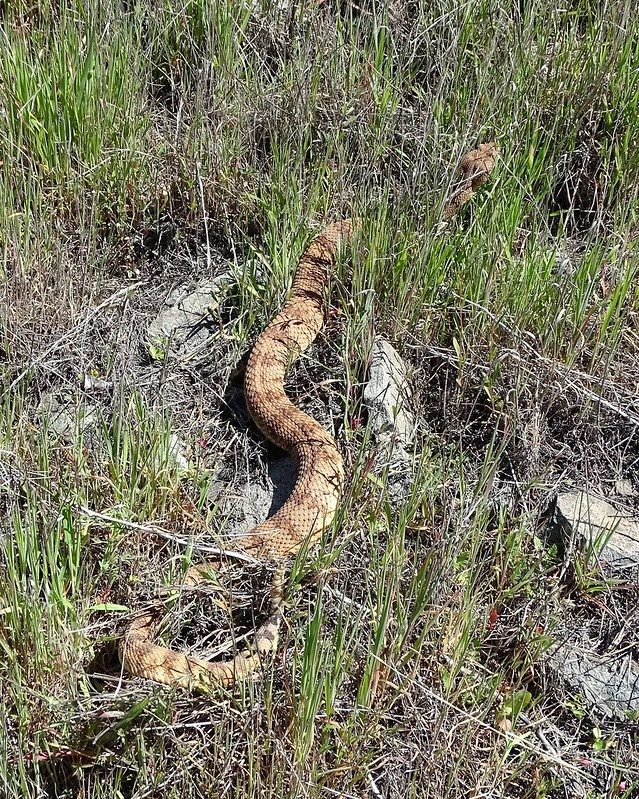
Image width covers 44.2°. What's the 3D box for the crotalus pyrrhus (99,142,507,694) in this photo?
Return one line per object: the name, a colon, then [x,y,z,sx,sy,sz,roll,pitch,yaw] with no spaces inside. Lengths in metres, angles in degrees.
crotalus pyrrhus: [-0.039,0.078,2.970,0.392,0.227,1.982,14,69,24]
